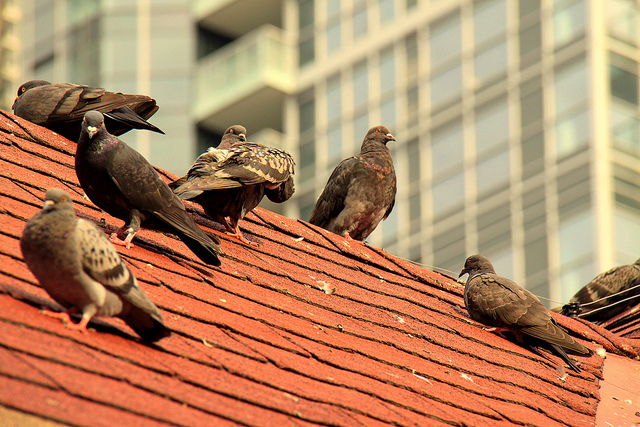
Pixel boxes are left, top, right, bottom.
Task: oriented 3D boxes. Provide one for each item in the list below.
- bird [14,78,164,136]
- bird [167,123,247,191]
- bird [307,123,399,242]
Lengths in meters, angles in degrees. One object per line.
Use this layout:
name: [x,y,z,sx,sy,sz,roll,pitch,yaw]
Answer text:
bird: [-4.302,-1.861,30.282,2.521,1.159,1.144,-7,-29,10]
bird: [-1.925,-0.948,29.944,0.765,1.456,2.633,8,-4,10]
bird: [0.895,-0.642,33.043,1.467,2.417,0.933,12,-19,13]
